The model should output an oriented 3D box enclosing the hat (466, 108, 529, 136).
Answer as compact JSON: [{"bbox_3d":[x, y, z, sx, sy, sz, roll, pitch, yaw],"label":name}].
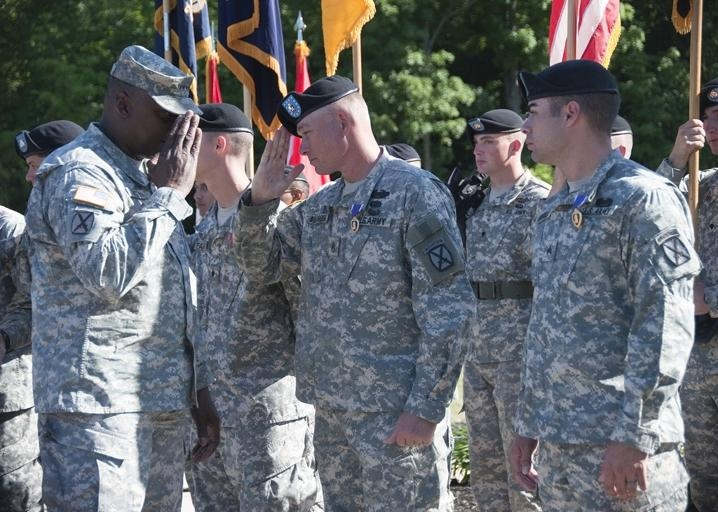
[{"bbox_3d":[1.287,-1.191,13.317,0.369,0.142,0.423,2,7,45],"label":"hat"}]

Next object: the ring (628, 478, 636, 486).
[{"bbox_3d":[1.928,1.620,10.535,0.071,0.039,0.017,1,5,-4],"label":"ring"}]

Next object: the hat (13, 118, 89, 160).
[{"bbox_3d":[-2.614,-1.022,12.812,0.545,0.201,0.377,-16,8,-36],"label":"hat"}]

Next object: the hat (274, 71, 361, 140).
[{"bbox_3d":[-0.333,-1.167,11.255,0.569,0.240,0.394,-33,5,-4],"label":"hat"}]

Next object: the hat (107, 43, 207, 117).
[{"bbox_3d":[-1.445,-1.300,11.010,0.679,0.235,0.430,30,13,-9],"label":"hat"}]

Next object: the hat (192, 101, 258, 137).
[{"bbox_3d":[-1.076,-1.108,12.031,0.352,0.119,0.244,17,12,14],"label":"hat"}]

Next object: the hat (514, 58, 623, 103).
[{"bbox_3d":[1.543,-1.282,11.108,0.512,0.185,0.363,-2,-1,10],"label":"hat"}]

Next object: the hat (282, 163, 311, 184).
[{"bbox_3d":[-0.544,-0.697,13.381,0.207,0.184,0.246,3,-34,6],"label":"hat"}]

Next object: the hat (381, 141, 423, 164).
[{"bbox_3d":[0.427,-0.975,14.062,0.281,0.137,0.372,13,5,10],"label":"hat"}]
